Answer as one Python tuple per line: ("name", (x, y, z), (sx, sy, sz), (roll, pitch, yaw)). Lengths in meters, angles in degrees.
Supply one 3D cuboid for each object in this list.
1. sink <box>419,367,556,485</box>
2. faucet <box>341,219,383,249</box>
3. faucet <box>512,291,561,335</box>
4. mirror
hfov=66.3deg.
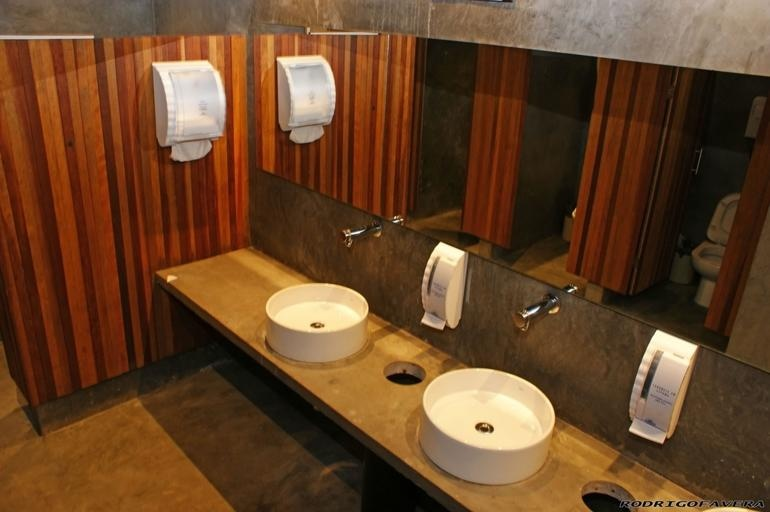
("sink", (0.361, 0.596, 2.115), (0.454, 0.171, 0.412), (9, 34, 14))
("faucet", (-0.105, -0.106, 2.575), (0.178, 0.099, 0.097), (-17, 23, -35))
("faucet", (0.556, 0.198, 2.141), (0.200, 0.097, 0.103), (-23, 36, -37))
("mirror", (0.499, -0.198, 2.196), (1.521, 0.617, 0.021), (31, 32, 32))
